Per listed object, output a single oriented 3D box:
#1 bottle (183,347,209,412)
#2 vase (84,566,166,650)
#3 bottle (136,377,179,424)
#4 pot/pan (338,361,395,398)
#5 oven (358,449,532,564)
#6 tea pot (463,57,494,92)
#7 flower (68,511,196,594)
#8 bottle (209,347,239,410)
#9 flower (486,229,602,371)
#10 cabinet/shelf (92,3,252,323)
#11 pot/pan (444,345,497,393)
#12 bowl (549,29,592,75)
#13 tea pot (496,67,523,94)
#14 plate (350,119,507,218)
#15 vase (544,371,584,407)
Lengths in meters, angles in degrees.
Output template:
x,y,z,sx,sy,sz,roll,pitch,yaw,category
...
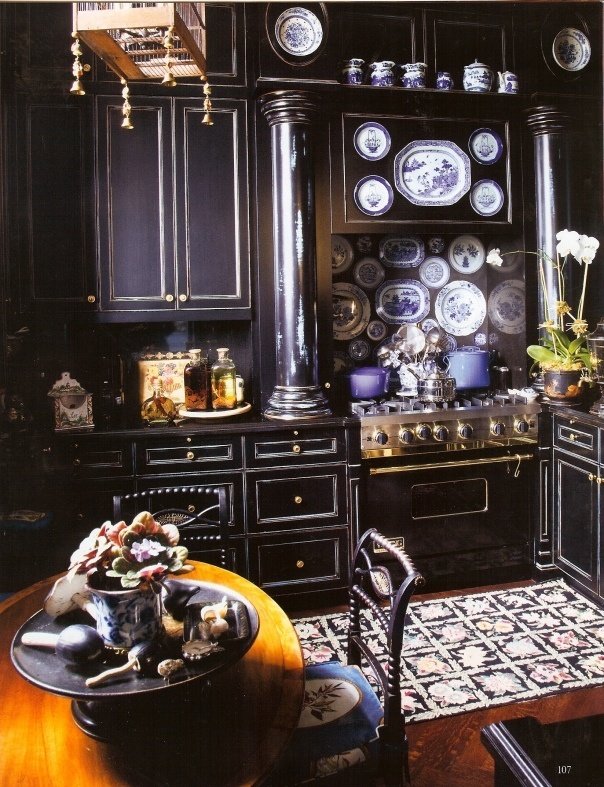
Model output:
x,y,z,sx,sy,sz,roll,pitch,yaw,category
-0.421,-0.064,3.052,0.104,0.228,0.345,-3,11,-9,bottle
-0.329,0.413,1.446,0.130,0.120,0.143,-11,-7,28,vase
-0.557,0.030,3.068,0.154,0.242,0.187,-1,5,2,bottle
0.284,-0.047,3.223,0.140,0.094,0.167,-2,-1,-11,pot/pan
0.515,0.471,3.325,0.838,0.453,0.539,-1,0,-25,oven
0.733,-1.315,3.174,0.126,0.165,0.250,1,11,13,tea pot
-0.326,0.320,1.426,0.188,0.079,0.178,6,16,-13,flower
-0.308,-0.053,2.996,0.106,0.225,0.194,-3,11,-5,bottle
1.037,-0.379,3.265,0.450,0.602,0.636,1,11,11,flower
-0.503,-0.880,2.942,0.622,1.184,0.206,-3,12,-9,cabinet/shelf
0.730,-0.102,3.327,0.214,0.177,0.200,-1,1,3,pot/pan
1.151,-1.460,3.257,0.209,0.184,0.051,-4,9,-14,bowl
0.866,-1.315,3.204,0.098,0.134,0.161,11,22,27,tea pot
0.501,-0.941,3.193,0.519,0.270,0.035,-1,1,-18,plate
1.080,-0.029,3.163,0.152,0.144,0.115,2,12,17,vase
